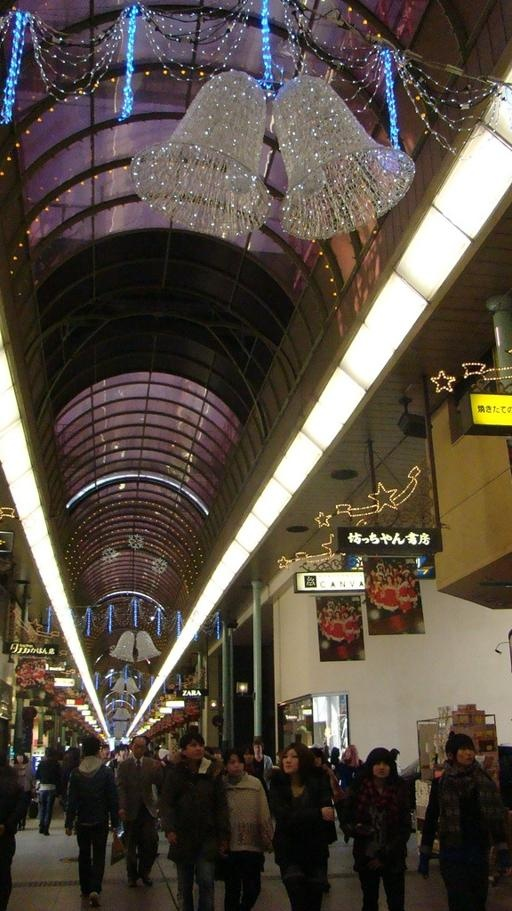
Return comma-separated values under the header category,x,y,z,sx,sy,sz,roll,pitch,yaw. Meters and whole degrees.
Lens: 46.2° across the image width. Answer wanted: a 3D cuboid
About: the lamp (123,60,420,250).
category,x,y,z,sx,sy,sz,roll,pitch,yaw
lamp,0.227,-1.358,2.674,0.797,0.622,0.887,-12,1,9
